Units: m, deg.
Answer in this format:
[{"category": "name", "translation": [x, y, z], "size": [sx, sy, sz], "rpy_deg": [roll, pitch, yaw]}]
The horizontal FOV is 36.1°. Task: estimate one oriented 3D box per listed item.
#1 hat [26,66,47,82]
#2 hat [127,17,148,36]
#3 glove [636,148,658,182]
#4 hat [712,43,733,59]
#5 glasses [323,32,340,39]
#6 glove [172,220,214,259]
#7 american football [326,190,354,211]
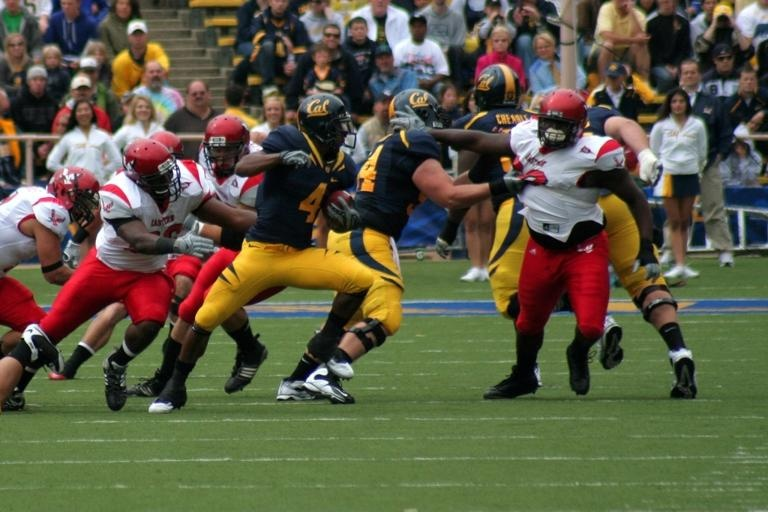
[{"category": "hat", "translation": [-4.249, -2.227, 14.396], "size": [0.243, 0.139, 0.216], "rpy_deg": [1, 11, -19]}, {"category": "hat", "translation": [-3.138, -2.892, 14.893], "size": [0.211, 0.182, 0.250], "rpy_deg": [-3, 10, -7]}, {"category": "glove", "translation": [2.067, -0.703, 9.081], "size": [0.080, 0.228, 0.206], "rpy_deg": [-25, 23, -39]}, {"category": "hat", "translation": [4.358, -2.638, 15.149], "size": [0.244, 0.171, 0.289], "rpy_deg": [1, 10, 13]}, {"category": "glasses", "translation": [-0.644, -2.750, 14.699], "size": [0.214, 0.068, 0.112], "rpy_deg": [-3, 10, -13]}, {"category": "glove", "translation": [-1.384, -0.109, 8.451], "size": [0.297, 0.076, 0.255], "rpy_deg": [11, 41, 0]}, {"category": "american football", "translation": [-0.297, -0.417, 8.840], "size": [0.176, 0.115, 0.173], "rpy_deg": [-25, -19, 37]}]
